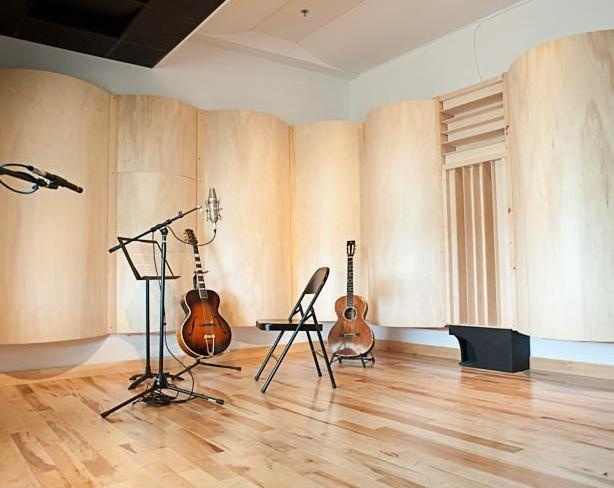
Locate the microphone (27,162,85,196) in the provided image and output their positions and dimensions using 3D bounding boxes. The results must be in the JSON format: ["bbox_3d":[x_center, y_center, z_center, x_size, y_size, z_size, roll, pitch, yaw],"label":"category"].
[{"bbox_3d":[-1.403,-0.369,2.682,0.223,0.152,0.852,0,-2,-25],"label":"microphone"}]

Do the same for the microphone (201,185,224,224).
[{"bbox_3d":[-0.771,-0.316,3.891,0.129,0.279,0.137,-4,-14,17],"label":"microphone"}]

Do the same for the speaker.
[{"bbox_3d":[1.769,1.018,4.781,0.623,0.412,0.220,-3,-5,41],"label":"speaker"}]

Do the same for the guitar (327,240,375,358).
[{"bbox_3d":[0.452,0.573,5.123,0.381,1.231,0.394,0,-1,-25],"label":"guitar"}]

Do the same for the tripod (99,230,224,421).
[{"bbox_3d":[-1.255,0.565,3.984,0.887,1.372,1.292,0,-1,-24],"label":"tripod"}]

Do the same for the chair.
[{"bbox_3d":[-0.095,0.711,4.358,0.710,1.085,0.735,-1,-5,18],"label":"chair"}]
